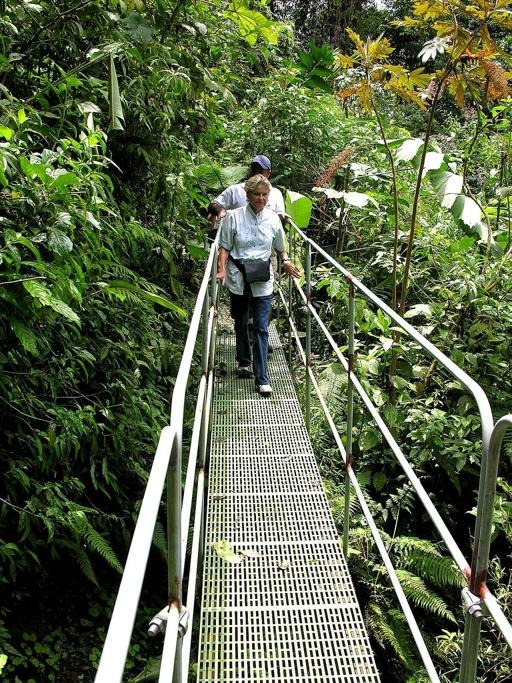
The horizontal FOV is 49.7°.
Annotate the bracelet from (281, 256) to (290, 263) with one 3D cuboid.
[{"bbox_3d":[0.236,-0.631,4.245,0.072,0.033,0.082,0,-28,2],"label":"bracelet"}]

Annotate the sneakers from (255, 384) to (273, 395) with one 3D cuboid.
[{"bbox_3d":[0.052,0.346,4.032,0.131,0.077,0.089,10,15,12],"label":"sneakers"}]

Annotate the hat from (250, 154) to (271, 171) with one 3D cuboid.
[{"bbox_3d":[0.043,-1.505,4.624,0.120,0.100,0.174,7,-5,18],"label":"hat"}]

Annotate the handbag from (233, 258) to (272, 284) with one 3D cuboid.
[{"bbox_3d":[-0.049,-0.514,4.048,0.310,0.189,0.198,8,15,3],"label":"handbag"}]

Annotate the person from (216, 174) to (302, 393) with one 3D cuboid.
[{"bbox_3d":[-0.004,-0.443,4.134,0.598,1.526,0.677,6,15,-3],"label":"person"}]
